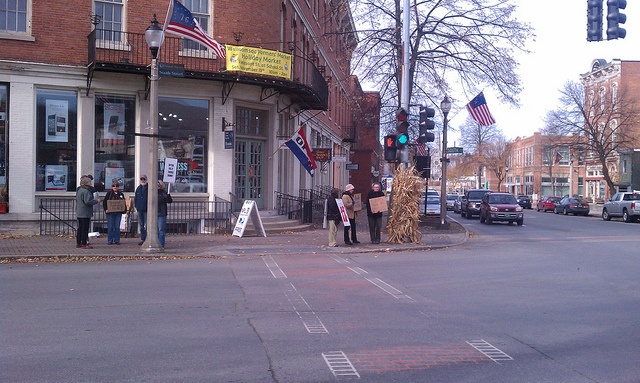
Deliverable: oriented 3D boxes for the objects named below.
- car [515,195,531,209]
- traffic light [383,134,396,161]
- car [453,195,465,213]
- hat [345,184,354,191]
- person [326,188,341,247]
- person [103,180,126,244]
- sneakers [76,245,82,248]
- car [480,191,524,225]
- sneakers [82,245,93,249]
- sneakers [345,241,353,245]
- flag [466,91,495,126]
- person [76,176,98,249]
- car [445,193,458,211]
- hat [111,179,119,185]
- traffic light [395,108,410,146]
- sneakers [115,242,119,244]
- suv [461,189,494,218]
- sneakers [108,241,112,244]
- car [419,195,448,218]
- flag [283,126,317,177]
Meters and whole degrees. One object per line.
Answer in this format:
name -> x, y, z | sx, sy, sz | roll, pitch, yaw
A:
car -> 16.973, 0.849, 63.002 | 1.113, 0.866, 2.399 | 0, 5, 13
traffic light -> 2.869, -1.783, 30.368 | 0.504, 1.004, 0.757 | 0, -1, 6
car -> 10.629, 1.067, 57.125 | 0.832, 0.768, 1.805 | 0, -3, 3
hat -> 1.240, -0.170, 30.448 | 0.286, 0.151, 0.262 | -3, 0, -10
person -> 0.589, 1.009, 29.955 | 0.519, 2.260, 1.210 | 0, -1, 0
person -> -7.931, 0.833, 29.293 | 0.841, 2.393, 0.912 | 0, -1, -17
sneakers -> -8.859, 2.012, 27.878 | 0.172, 0.096, 0.158 | 13, -17, -43
car -> 10.236, 0.986, 43.057 | 1.311, 1.133, 2.693 | 0, -5, 0
sneakers -> -8.558, 2.050, 27.922 | 0.349, 0.142, 0.126 | 0, 0, -14
sneakers -> 1.188, 2.059, 30.371 | 0.301, 0.121, 0.499 | 0, -1, 2
flag -> 7.889, -4.080, 36.720 | 1.039, 1.609, 1.584 | 0, -1, -16
person -> -8.626, 0.756, 27.995 | 0.712, 2.661, 0.608 | 0, -1, -17
car -> 10.734, 0.866, 61.656 | 1.014, 0.900, 2.142 | -1, -2, 2
hat -> -8.483, -0.413, 31.345 | 0.186, 0.227, 0.223 | -1, 42, 0
traffic light -> 3.311, -2.606, 30.217 | 0.416, 1.394, 0.551 | 0, -1, 2
sneakers -> -7.752, 1.981, 29.055 | 0.115, 0.076, 0.108 | 1, -6, -14
suv -> 10.077, 0.725, 49.315 | 1.192, 1.104, 2.520 | -1, -3, -1
sneakers -> -7.989, 1.976, 28.916 | 0.162, 0.088, 0.248 | 0, -1, -15
car -> 6.901, 0.882, 46.396 | 1.291, 0.951, 2.930 | -1, -3, 5
flag -> -0.822, -2.214, 35.178 | 1.020, 3.180, 0.280 | -3, -22, -19
